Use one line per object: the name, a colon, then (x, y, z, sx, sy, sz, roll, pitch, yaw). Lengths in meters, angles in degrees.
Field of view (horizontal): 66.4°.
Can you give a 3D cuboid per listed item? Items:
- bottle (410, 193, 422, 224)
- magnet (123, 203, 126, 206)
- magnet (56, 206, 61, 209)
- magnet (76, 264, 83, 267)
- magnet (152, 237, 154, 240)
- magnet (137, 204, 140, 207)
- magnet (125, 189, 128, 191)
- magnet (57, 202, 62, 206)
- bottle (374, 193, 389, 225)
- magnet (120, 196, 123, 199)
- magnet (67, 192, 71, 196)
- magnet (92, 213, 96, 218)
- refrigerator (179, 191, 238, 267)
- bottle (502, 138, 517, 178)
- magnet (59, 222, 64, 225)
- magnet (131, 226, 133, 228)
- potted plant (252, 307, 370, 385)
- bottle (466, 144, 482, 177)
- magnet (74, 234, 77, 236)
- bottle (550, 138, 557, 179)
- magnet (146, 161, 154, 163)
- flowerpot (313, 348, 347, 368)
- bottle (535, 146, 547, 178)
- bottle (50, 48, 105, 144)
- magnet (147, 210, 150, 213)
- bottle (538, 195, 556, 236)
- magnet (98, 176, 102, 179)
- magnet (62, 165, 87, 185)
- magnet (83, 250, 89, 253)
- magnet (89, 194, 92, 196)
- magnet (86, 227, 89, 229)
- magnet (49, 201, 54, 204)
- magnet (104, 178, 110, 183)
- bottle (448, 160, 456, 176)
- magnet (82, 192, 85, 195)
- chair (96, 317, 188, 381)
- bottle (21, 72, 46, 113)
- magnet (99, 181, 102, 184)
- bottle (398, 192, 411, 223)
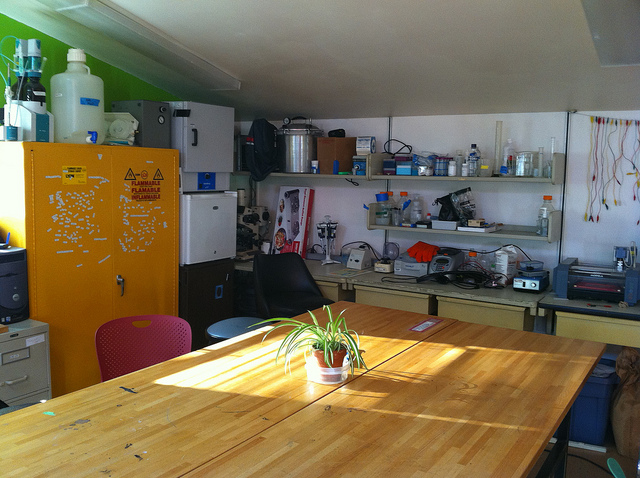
bottle: (0.930, -0.293, 4.748, 0.117, 0.266, 0.301, 3, 11, 10)
magnet: (-1.594, -0.281, 3.930, 0.004, 0.020, 0.023, 7, 13, 28)
magnet: (-1.915, -0.230, 3.536, 0.006, 0.018, 0.031, 8, 13, 30)
magnet: (-1.831, 0.198, 3.693, 0.057, 0.015, 0.012, -6, -3, -39)
magnet: (-1.440, -0.005, 4.142, 0.021, 0.020, 0.005, 24, -8, -8)
magnet: (-1.516, -0.282, 4.018, 0.023, 0.020, 0.005, -2, 5, -22)
magnet: (-1.583, -0.400, 3.930, 0.008, 0.014, 0.016, 1, 3, 37)
magnet: (-1.910, -0.259, 3.537, 0.029, 0.021, 0.010, 30, -16, -5)
bottle: (0.600, -0.303, 4.784, 0.141, 0.296, 0.243, 2, 11, 7)
magnet: (-1.611, -0.335, 3.901, 0.021, 0.018, 0.005, 0, 3, -12)
magnet: (-1.864, -0.335, 3.582, 0.032, 0.028, 0.008, 4, -3, -8)
magnet: (-1.758, -0.183, 3.744, 0.003, 0.034, 0.017, 7, 13, 28)
refrigerator: (-0.879, -0.068, 4.691, 0.789, 0.675, 0.479, -3, -7, 31)
bottle: (1.657, -0.720, 4.244, 0.114, 0.319, 0.299, 5, 12, 20)
magnet: (-1.909, -0.117, 3.559, 0.004, 0.020, 0.022, 9, 14, 34)
magnet: (-1.559, -0.103, 3.990, 0.016, 0.027, 0.016, 5, 8, 31)
potted plant: (-0.014, 0.519, 2.337, 0.526, 0.292, 0.443, -9, -7, 25)
bottle: (1.381, -0.700, 4.405, 0.136, 0.320, 0.080, 5, 12, 31)
magnet: (-1.849, -0.034, 3.640, 0.017, 0.013, 0.025, -1, 11, 31)
bottle: (1.931, -0.674, 4.040, 0.052, 0.327, 0.369, 6, 12, 23)
magnet: (-1.440, -0.647, 4.079, 0.011, 0.016, 0.069, -7, 0, 38)
flowerpot: (0.047, 0.552, 2.260, 0.097, 0.063, 0.092, 0, -5, -20)
bottle: (1.870, -0.661, 4.128, 0.109, 0.249, 0.270, 6, 12, 23)
bottle: (-1.896, -1.111, 3.766, 0.375, 0.729, 0.345, 1, 11, 0)
magnet: (-1.458, -0.234, 4.094, 0.012, 0.021, 0.024, 7, 8, 34)
bottle: (1.917, -0.208, 4.134, 0.118, 0.318, 0.314, 6, 12, 24)
magnet: (-1.715, -0.476, 3.759, 0.012, 0.021, 0.023, 9, 10, 39)
magnet: (-1.840, -0.476, 3.598, 0.021, 0.107, 0.162, 2, 5, 37)
magnet: (-1.807, 0.093, 3.713, 0.031, 0.016, 0.007, -1, 4, -33)
magnet: (-1.765, -0.337, 3.710, 0.011, 0.019, 0.022, 7, 7, 40)
magnet: (-1.791, -0.086, 3.713, 0.009, 0.015, 0.017, 16, 8, 35)
magnet: (-1.945, -0.263, 3.500, 0.006, 0.018, 0.029, 8, 13, 31)
magnet: (-1.683, -0.459, 3.802, 0.027, 0.006, 0.029, -15, -19, 39)
bottle: (1.174, -0.632, 4.351, 0.069, 0.126, 0.102, 4, 12, 13)
magnet: (-1.799, -0.345, 3.662, 0.014, 0.025, 0.014, 6, 8, 28)
chair: (-1.003, 0.550, 2.757, 0.332, 0.508, 0.357, -3, 3, -29)
bottle: (-2.114, -1.069, 3.545, 0.154, 0.291, 0.164, 1, 11, 0)
magnet: (-1.714, -0.438, 3.765, 0.026, 0.022, 0.006, 7, 6, 3)
bottle: (0.828, -0.323, 4.827, 0.133, 0.278, 0.184, 3, 11, 8)
